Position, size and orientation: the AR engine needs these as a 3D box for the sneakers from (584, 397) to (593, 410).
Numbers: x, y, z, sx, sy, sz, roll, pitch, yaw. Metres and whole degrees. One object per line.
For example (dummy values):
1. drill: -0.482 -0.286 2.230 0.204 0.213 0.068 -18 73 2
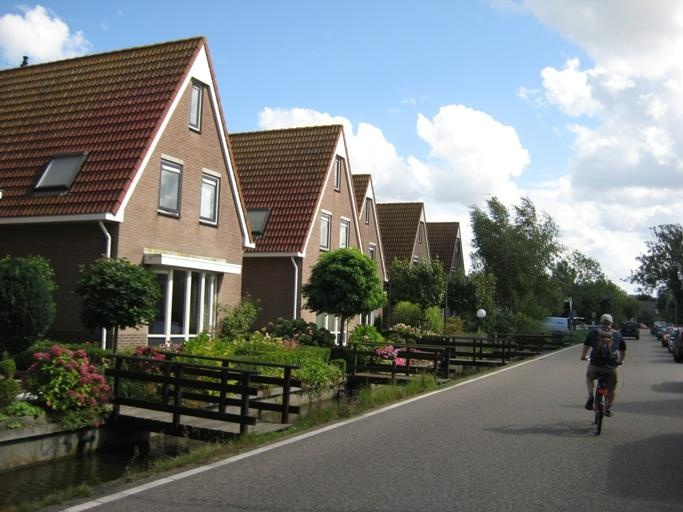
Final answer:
1. sneakers: 5.008 3.269 14.552 0.131 0.458 0.161 3 -6 9
